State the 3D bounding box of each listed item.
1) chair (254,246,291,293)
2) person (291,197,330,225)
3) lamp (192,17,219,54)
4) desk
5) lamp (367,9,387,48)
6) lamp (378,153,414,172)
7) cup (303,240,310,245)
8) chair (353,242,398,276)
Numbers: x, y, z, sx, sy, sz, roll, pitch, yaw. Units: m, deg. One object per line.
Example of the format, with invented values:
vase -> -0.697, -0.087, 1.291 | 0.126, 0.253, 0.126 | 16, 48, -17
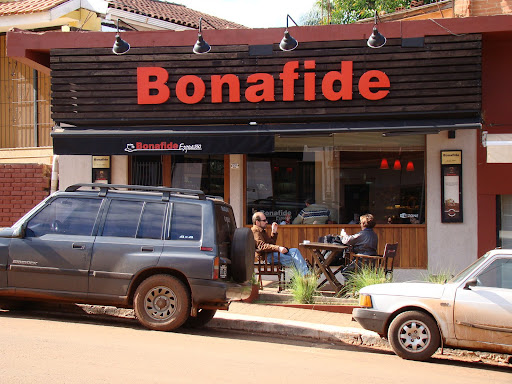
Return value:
chair -> 0.264, 1.676, 14.405 | 0.962, 1.200, 0.882 | 4, 6, 1
person -> 1.463, 0.557, 16.546 | 1.067, 0.546, 0.538 | -7, 21, -22
lamp -> -1.199, -3.754, 15.049 | 0.705, 0.764, 0.480 | -12, 30, -11
desk -> 1.446, 1.716, 14.175 | 1.157, 1.039, 1.193 | 0, -2, 26
lamp -> 2.789, -3.888, 14.722 | 0.482, 0.798, 0.749 | 9, 32, 21
lamp -> 3.608, -0.748, 16.188 | 0.876, 0.408, 0.149 | 4, 5, -2
cup -> 1.113, 1.137, 14.028 | 0.195, 0.122, 0.170 | -1, -3, 4
chair -> 2.665, 1.470, 13.978 | 0.640, 0.550, 0.813 | 21, -6, -39
